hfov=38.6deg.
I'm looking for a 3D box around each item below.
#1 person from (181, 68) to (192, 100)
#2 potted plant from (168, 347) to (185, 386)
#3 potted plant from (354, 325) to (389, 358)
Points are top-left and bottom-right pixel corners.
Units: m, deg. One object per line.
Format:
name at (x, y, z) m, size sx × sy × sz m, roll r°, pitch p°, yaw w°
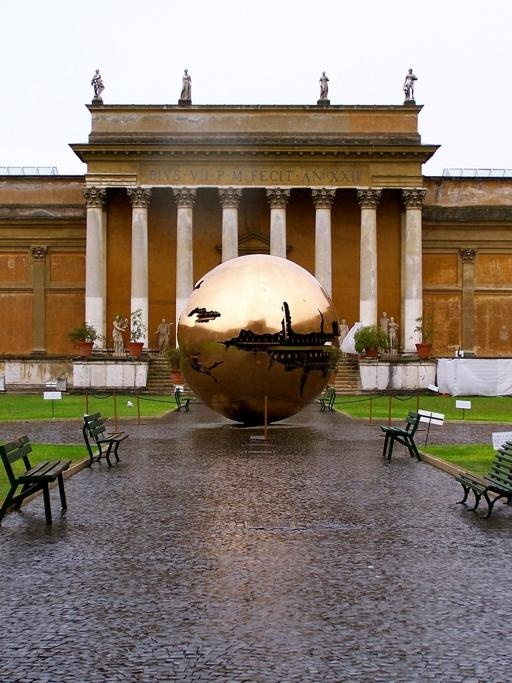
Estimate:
person at (-4.431, -16.046, 45.966) m, size 0.491 × 1.885 × 0.246 m, roll 0°, pitch -2°, yaw 6°
potted plant at (-3.974, 1.294, 36.231) m, size 0.804 × 1.785 × 2.403 m, roll 1°, pitch -2°, yaw -6°
potted plant at (6.159, 0.016, 39.169) m, size 1.651 × 1.650 × 1.523 m, roll -4°, pitch -4°, yaw 21°
